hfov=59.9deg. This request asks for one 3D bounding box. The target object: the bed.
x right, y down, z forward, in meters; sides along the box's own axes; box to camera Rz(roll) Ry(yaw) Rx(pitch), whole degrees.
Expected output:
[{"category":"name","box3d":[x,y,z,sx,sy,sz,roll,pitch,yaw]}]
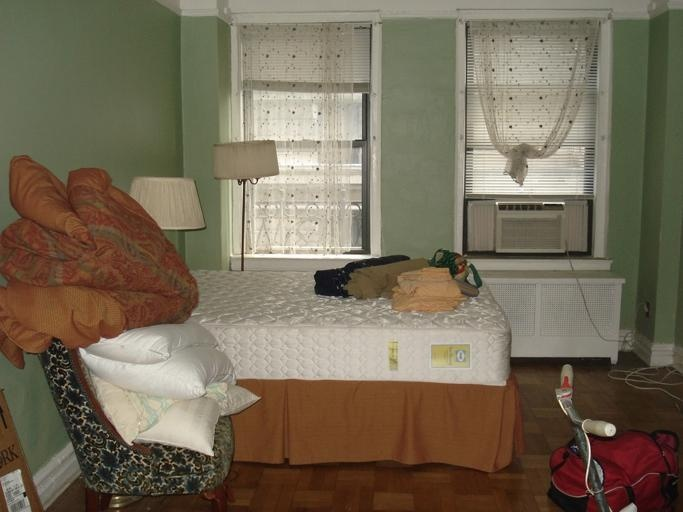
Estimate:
[{"category":"bed","box3d":[0.654,0.813,4.161,2.420,0.733,2.555,-4,-5,8]}]

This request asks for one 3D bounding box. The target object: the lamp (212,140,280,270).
[{"category":"lamp","box3d":[-0.762,-0.314,4.706,0.480,1.280,0.400,-5,25,-17]}]

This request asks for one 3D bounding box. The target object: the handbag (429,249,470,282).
[{"category":"handbag","box3d":[0.741,0.047,4.084,0.269,0.128,0.204,20,5,41]}]

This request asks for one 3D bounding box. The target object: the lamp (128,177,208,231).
[{"category":"lamp","box3d":[-1.126,-0.356,3.867,0.370,0.239,0.379,-2,4,-12]}]

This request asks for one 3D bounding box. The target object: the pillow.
[{"category":"pillow","box3d":[-0.804,0.589,2.693,0.176,0.521,0.584,-41,-15,34]}]

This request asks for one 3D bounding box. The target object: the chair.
[{"category":"chair","box3d":[-0.889,0.753,2.998,0.833,0.968,0.651,-1,7,-5]}]
